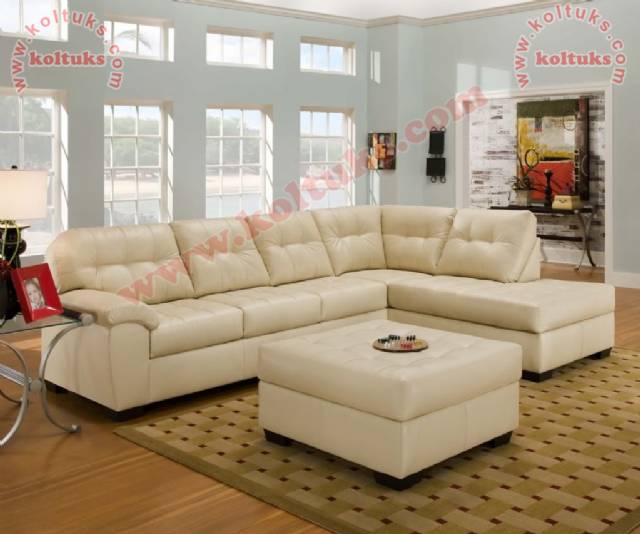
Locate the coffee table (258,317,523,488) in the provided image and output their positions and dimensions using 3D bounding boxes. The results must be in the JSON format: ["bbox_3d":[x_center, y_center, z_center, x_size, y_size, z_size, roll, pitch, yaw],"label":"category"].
[{"bbox_3d":[0.341,0.670,2.954,1.019,0.401,0.976,2,4,43],"label":"coffee table"}]

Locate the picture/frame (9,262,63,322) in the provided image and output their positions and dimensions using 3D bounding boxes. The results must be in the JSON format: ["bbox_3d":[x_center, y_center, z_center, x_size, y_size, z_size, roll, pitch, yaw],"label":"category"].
[{"bbox_3d":[-1.539,0.132,3.001,0.087,0.275,0.307,-17,7,22],"label":"picture/frame"}]

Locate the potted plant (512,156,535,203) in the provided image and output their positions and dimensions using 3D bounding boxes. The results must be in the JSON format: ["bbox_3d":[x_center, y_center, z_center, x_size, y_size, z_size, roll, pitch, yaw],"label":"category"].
[{"bbox_3d":[3.140,-1.345,8.557,0.286,0.760,0.523,2,9,20],"label":"potted plant"}]
